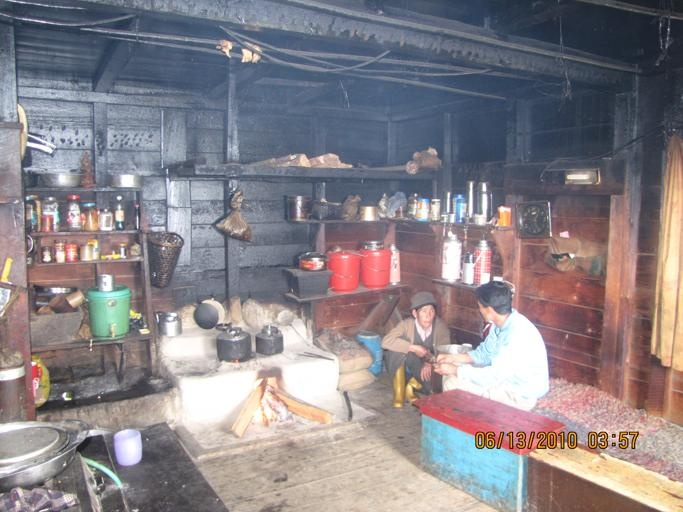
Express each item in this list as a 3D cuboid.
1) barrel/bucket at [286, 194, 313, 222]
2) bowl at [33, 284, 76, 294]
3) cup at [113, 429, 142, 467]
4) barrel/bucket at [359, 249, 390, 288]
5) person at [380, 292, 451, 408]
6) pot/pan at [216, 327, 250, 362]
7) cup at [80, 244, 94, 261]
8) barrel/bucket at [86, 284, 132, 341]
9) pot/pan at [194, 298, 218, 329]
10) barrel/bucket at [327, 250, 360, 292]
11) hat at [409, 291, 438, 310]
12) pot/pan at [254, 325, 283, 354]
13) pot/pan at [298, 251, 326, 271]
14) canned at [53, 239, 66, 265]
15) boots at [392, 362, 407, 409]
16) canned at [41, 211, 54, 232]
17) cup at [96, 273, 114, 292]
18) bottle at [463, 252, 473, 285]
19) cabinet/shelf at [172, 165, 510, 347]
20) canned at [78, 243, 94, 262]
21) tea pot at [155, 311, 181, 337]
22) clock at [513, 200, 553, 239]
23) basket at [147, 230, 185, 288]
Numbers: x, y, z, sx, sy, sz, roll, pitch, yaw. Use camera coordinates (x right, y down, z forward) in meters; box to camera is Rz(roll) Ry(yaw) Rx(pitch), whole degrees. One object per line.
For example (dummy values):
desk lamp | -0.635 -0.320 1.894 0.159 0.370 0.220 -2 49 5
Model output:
barrel/bucket | -0.644 -0.716 8.064 0.404 0.363 0.398 1 6 0
bowl | -3.715 0.414 6.997 0.467 0.120 0.378 -2 6 -11
cup | -1.980 1.764 5.065 0.297 0.267 0.286 2 1 0
barrel/bucket | 0.516 0.184 8.112 0.528 0.514 0.574 -1 0 0
person | 1.032 1.132 7.434 1.218 1.706 1.240 1 -2 8
pot/pan | -1.343 1.113 6.924 0.420 0.353 0.410 1 -3 12
cup | -3.240 -0.042 6.903 0.184 0.193 0.178 2 -1 0
barrel/bucket | -2.809 0.686 6.885 0.633 0.680 0.618 1 5 0
pot/pan | -1.915 0.798 7.469 0.358 0.319 0.363 20 25 39
barrel/bucket | -0.078 0.249 8.058 0.585 0.551 0.538 0 -1 0
hat | 1.093 0.600 7.133 0.356 0.236 0.282 -2 6 -6
pot/pan | -0.921 1.070 7.031 0.358 0.367 0.350 -4 7 -39
pot/pan | -0.418 0.074 7.736 0.288 0.172 0.279 1 4 -6
canned | -3.511 -0.068 6.716 0.119 0.257 0.075 -4 7 -23
boots | 0.735 1.642 6.898 0.157 0.506 0.251 -1 6 6
canned | -3.649 -0.413 6.656 0.161 0.205 0.095 -2 6 -6
cup | -2.888 0.318 6.640 0.218 0.205 0.210 1 5 0
bottle | 1.635 0.162 6.990 0.079 0.392 0.174 -6 8 -34
cabinet/shelf | -0.102 0.003 7.724 2.797 1.709 1.406 -2 5 -24
canned | -3.259 -0.032 6.896 0.203 0.215 0.197 2 -1 -26
tea pot | -2.325 0.906 7.274 0.356 0.321 0.256 -1 9 -20
clock | 2.369 -0.452 6.681 0.483 0.440 0.158 0 10 39
basket | -2.389 0.019 7.261 0.568 0.711 0.559 17 7 -19
